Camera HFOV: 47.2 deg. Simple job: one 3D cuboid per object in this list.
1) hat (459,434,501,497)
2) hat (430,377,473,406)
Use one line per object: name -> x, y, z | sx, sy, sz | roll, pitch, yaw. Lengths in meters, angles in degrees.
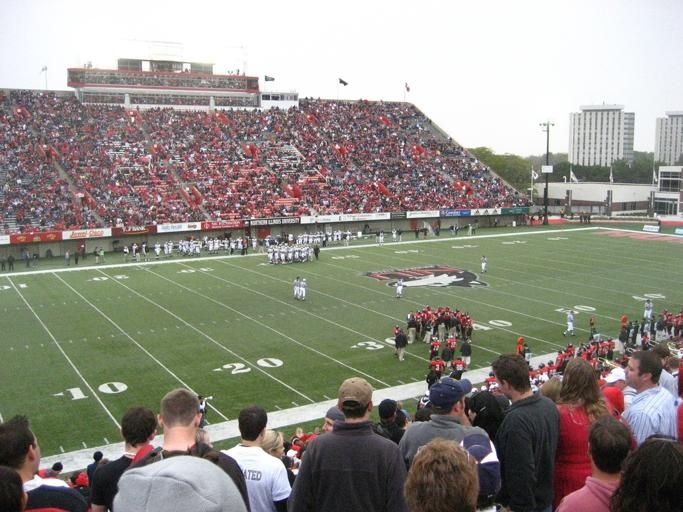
hat -> 1.230, 1.798, 7.025 | 0.383, 0.709, 0.353 | -3, -17, 7
hat -> 1.008, 1.265, 7.203 | 0.342, 0.186, 0.212 | -35, 28, -34
